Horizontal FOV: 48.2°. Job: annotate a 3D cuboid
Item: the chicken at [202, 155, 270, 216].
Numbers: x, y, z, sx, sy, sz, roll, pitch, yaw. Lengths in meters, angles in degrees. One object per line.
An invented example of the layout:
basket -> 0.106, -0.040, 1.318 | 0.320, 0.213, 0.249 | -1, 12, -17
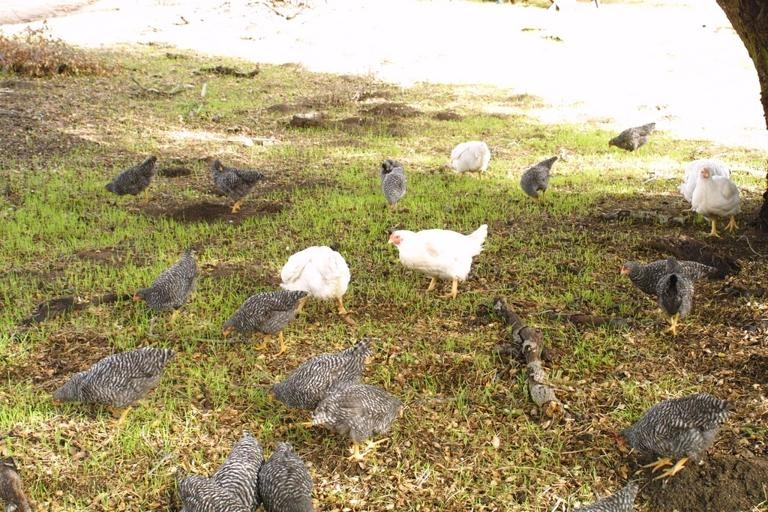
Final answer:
chicken -> -3.209, -1.536, 18.152 | 0.731, 0.892, 1.269 | -25, 34, -39

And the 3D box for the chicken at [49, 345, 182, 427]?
chicken -> -4.287, 2.065, 13.861 | 1.892, 1.075, 0.958 | -22, 14, -21

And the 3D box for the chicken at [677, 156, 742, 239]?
chicken -> 6.424, -1.191, 16.778 | 0.911, 1.309, 1.188 | -1, 26, 2

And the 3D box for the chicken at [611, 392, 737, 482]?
chicken -> 4.473, 2.678, 13.248 | 1.725, 1.078, 0.908 | -25, 24, 24

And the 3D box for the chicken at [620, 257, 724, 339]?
chicken -> 4.927, 0.549, 15.033 | 1.112, 1.094, 1.051 | 19, 33, 38

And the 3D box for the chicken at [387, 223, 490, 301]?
chicken -> 1.052, -0.005, 15.760 | 1.841, 1.281, 0.925 | -5, 32, 8

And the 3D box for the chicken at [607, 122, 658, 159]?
chicken -> 6.624, -3.174, 22.628 | 1.273, 0.670, 0.776 | -29, 50, -14

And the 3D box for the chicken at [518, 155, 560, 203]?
chicken -> 3.349, -1.768, 18.644 | 0.514, 0.638, 1.213 | 16, 61, 49
